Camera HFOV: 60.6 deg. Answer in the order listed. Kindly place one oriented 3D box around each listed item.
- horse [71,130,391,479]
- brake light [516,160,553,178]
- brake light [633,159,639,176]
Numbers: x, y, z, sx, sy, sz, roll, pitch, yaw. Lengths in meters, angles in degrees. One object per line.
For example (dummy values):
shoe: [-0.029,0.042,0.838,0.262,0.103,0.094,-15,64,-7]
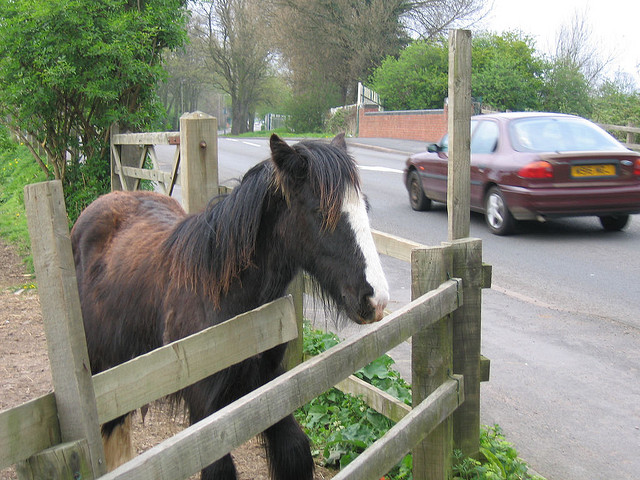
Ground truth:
horse: [-0.584,0.393,3.234,2.172,2.050,0.987,10,17,39]
brake light: [3.296,-1.058,8.285,0.326,0.204,0.212,0,7,36]
brake light: [4.880,-1.109,8.411,0.107,0.249,0.028,-5,12,-17]
